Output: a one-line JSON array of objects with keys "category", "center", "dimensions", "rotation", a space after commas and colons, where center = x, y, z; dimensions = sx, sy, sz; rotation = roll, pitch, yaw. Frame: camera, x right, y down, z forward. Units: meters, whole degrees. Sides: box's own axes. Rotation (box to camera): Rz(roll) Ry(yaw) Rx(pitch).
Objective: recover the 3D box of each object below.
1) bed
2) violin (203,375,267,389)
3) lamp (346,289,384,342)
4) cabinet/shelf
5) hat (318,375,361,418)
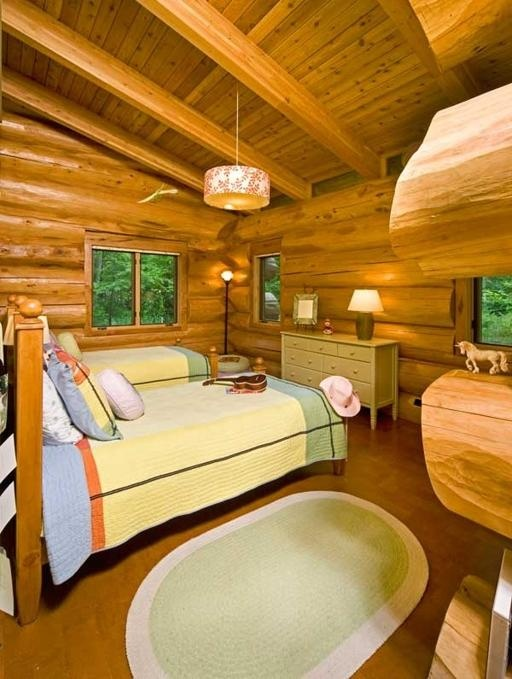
[{"category": "bed", "center": [-0.385, 0.439, 2.283], "dimensions": [1.556, 0.909, 1.235], "rotation": [-7, 15, -33]}, {"category": "violin", "center": [-0.134, 0.290, 2.986], "dimensions": [0.345, 0.047, 0.156], "rotation": [-3, 6, -1]}, {"category": "lamp", "center": [0.961, -0.209, 3.920], "dimensions": [0.326, 0.438, 0.320], "rotation": [1, 1, -20]}, {"category": "cabinet/shelf", "center": [0.752, 0.310, 4.235], "dimensions": [0.394, 0.687, 1.152], "rotation": [-10, 14, -42]}, {"category": "hat", "center": [0.487, 0.364, 2.798], "dimensions": [0.215, 0.284, 0.107], "rotation": [-19, -21, -33]}]
